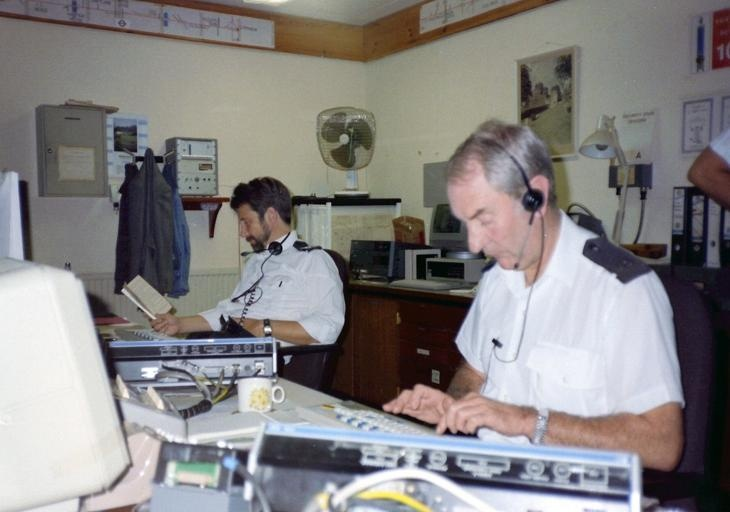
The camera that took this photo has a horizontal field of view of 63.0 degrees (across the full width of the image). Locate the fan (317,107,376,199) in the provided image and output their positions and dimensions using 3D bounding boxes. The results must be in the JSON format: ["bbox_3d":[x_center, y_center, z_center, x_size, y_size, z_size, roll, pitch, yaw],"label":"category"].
[{"bbox_3d":[-0.158,-0.817,4.703,0.458,0.711,0.425,-7,19,-19],"label":"fan"}]

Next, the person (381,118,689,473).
[{"bbox_3d":[0.548,0.129,1.879,0.668,0.938,1.073,5,-4,-15],"label":"person"}]

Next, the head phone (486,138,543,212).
[{"bbox_3d":[0.381,-0.203,1.621,0.063,0.183,0.138,-33,9,-25],"label":"head phone"}]

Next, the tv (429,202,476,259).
[{"bbox_3d":[0.659,-0.221,4.359,0.353,0.341,0.197,2,-11,14],"label":"tv"}]

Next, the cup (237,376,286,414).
[{"bbox_3d":[-0.299,0.412,1.740,0.144,0.089,0.096,3,-10,-13],"label":"cup"}]

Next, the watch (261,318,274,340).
[{"bbox_3d":[-0.390,0.296,2.382,0.064,0.088,0.095,-2,15,-8],"label":"watch"}]

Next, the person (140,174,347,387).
[{"bbox_3d":[-0.592,0.185,3.089,0.927,1.101,0.855,-1,7,23],"label":"person"}]

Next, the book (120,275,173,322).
[{"bbox_3d":[-1.005,0.203,2.679,0.236,0.075,0.176,44,31,2],"label":"book"}]
